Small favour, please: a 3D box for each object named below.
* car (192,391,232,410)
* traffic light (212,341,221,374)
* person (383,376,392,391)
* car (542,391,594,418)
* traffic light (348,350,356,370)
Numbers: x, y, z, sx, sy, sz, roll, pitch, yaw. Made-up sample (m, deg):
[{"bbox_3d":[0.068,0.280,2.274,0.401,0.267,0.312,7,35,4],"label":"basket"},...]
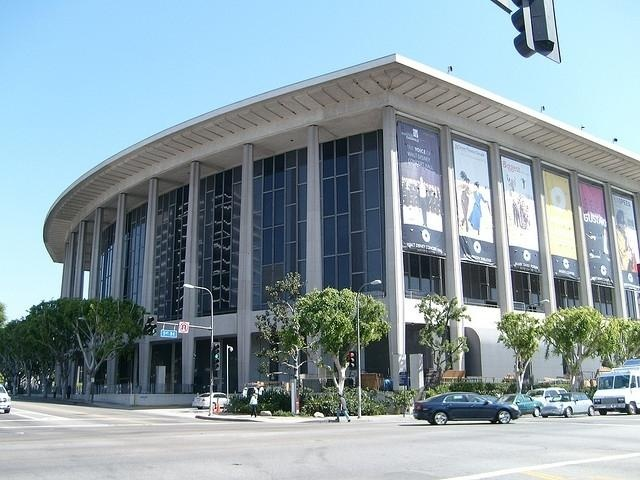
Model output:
[{"bbox_3d":[-9.961,14.851,46.333,2.794,1.397,6.466,5,-18,-20],"label":"car"},{"bbox_3d":[-8.096,8.958,38.961,0.571,2.078,0.741,5,-16,-19],"label":"traffic light"},{"bbox_3d":[5.731,12.165,42.390,0.927,1.015,0.378,11,-19,-36],"label":"person"},{"bbox_3d":[16.535,11.017,33.612,4.058,1.476,1.127,6,-17,-23],"label":"car"},{"bbox_3d":[2.320,8.516,35.440,0.521,1.193,0.769,-9,-18,27],"label":"traffic light"}]
